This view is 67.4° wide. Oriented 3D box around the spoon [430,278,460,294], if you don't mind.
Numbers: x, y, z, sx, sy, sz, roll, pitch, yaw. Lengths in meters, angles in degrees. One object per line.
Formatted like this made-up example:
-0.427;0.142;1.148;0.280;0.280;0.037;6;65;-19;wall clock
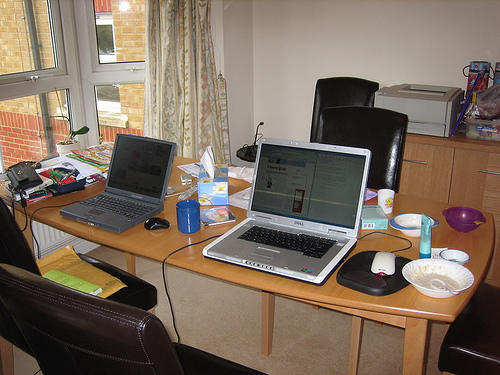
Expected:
0.621;0.319;1.216;0.063;0.019;0.093;0;18;-7;spoon

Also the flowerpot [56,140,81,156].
-1.325;-0.309;2.760;0.142;0.103;0.133;-2;16;-13;flowerpot

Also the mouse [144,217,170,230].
-0.396;0.148;1.591;0.081;0.028;0.051;-4;16;-13;mouse

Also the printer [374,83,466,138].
1.073;-0.535;2.888;0.645;0.298;0.622;7;0;-16;printer

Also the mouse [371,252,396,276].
0.471;0.271;1.321;0.075;0.035;0.134;2;22;23;mouse

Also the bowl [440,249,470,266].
0.753;0.251;1.361;0.071;0.021;0.070;-6;25;3;bowl

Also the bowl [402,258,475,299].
0.632;0.299;1.242;0.203;0.062;0.210;0;10;0;bowl

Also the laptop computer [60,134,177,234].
-0.561;0.023;1.825;0.460;0.351;0.489;14;24;27;laptop computer

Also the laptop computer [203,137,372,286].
0.167;0.089;1.509;0.626;0.454;0.563;12;23;29;laptop computer

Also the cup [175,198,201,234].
-0.236;0.119;1.605;0.102;0.124;0.134;2;20;4;cup
